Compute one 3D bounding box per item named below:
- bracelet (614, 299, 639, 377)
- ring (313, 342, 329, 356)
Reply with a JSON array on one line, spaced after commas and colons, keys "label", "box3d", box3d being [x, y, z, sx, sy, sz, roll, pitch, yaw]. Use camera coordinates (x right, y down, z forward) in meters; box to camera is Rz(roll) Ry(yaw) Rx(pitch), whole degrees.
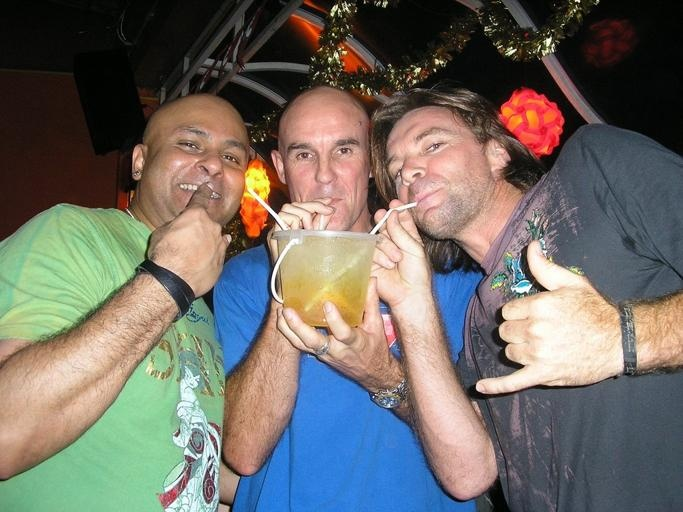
[{"label": "bracelet", "box3d": [1.222, 0.355, 2.301, 0.072, 0.303, 0.095, 0, -3, 15]}, {"label": "ring", "box3d": [-0.099, 0.493, 2.830, 0.082, 0.036, 0.089, -31, 3, 2]}]
